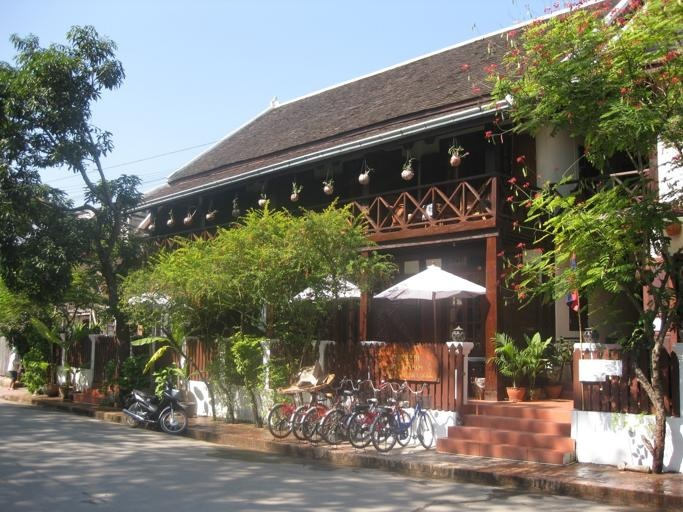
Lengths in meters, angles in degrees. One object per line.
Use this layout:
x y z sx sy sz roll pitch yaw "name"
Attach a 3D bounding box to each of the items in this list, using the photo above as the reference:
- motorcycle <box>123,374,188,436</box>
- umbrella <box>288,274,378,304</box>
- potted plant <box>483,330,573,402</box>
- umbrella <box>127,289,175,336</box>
-4.394 3.631 17.150 1.865 1.274 0.558 -9 -14 31 "motorcycle"
-0.298 0.779 16.848 1.596 0.563 0.454 3 -13 -14 "umbrella"
4.367 2.528 16.412 2.035 1.495 0.811 10 -16 -37 "potted plant"
-5.009 1.433 18.492 0.937 1.317 1.114 0 0 -17 "umbrella"
